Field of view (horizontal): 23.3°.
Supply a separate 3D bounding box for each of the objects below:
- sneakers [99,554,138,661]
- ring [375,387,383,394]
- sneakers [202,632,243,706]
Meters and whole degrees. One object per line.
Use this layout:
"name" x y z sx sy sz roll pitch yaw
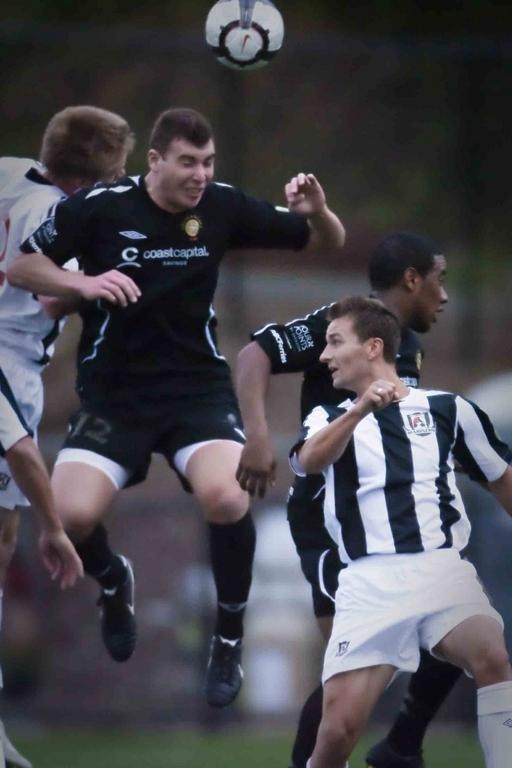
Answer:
"sneakers" -0.458 0.781 4.337 0.139 0.359 0.156 -6 0 19
"ring" 0.345 0.018 3.473 0.017 0.014 0.006 -2 -17 6
"sneakers" -0.105 0.959 4.208 0.146 0.227 0.134 6 -3 -42
